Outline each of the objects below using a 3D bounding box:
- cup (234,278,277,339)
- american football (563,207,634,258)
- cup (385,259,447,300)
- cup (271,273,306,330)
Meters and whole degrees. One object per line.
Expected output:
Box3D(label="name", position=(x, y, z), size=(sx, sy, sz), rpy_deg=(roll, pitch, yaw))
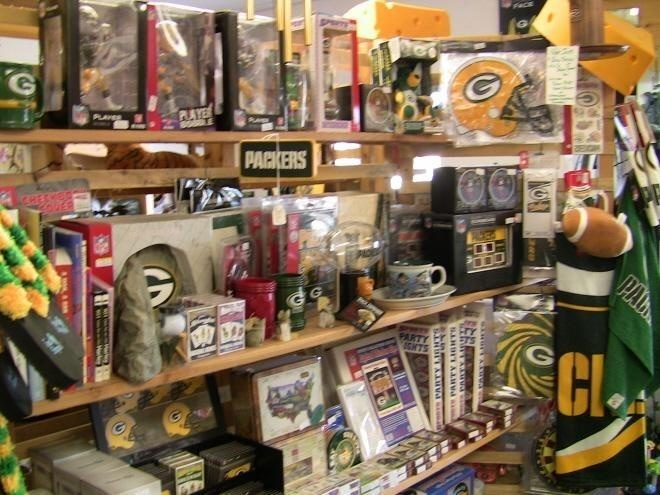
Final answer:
Box3D(label="cup", position=(-0.246, 0.208, 1.629), size=(0.126, 0.201, 0.061), rpy_deg=(-7, 9, -13))
Box3D(label="american football", position=(1.198, -0.054, 2.305), size=(0.353, 0.180, 0.201), rpy_deg=(16, -12, 2))
Box3D(label="cup", position=(0.374, 0.136, 2.083), size=(0.290, 0.135, 0.178), rpy_deg=(-2, 7, -13))
Box3D(label="cup", position=(-0.132, 0.199, 1.728), size=(0.127, 0.166, 0.128), rpy_deg=(-5, -6, -1))
